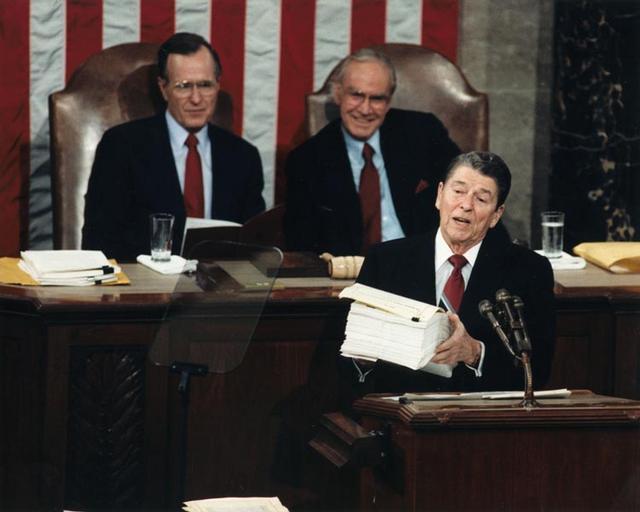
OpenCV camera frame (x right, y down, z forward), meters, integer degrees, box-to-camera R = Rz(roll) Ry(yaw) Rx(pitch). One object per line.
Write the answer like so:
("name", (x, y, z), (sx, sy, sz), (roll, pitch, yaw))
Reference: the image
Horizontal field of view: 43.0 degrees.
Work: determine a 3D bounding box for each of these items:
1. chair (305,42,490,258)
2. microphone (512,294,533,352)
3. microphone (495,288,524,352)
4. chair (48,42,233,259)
("chair", (0.385, -0.686, 4.271), (0.691, 0.962, 0.543), (0, 3, -1))
("microphone", (0.623, 0.201, 2.511), (0.057, 0.148, 0.306), (3, 4, 13))
("microphone", (0.600, 0.210, 2.490), (0.073, 0.064, 0.207), (-17, 46, 7))
("chair", (-0.922, -0.499, 3.961), (0.641, 1.009, 0.658), (2, 16, 12))
